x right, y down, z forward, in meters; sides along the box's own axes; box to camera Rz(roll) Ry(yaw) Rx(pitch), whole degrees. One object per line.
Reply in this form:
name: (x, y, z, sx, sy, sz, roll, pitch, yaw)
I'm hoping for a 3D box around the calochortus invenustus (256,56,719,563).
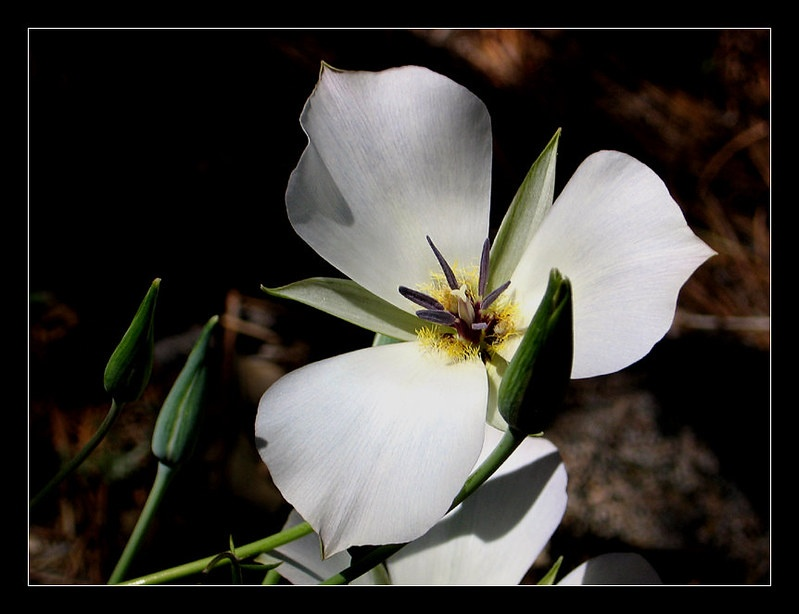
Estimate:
calochortus invenustus: (0.048, -0.032, 0.689, 0.411, 0.338, 0.289, -13, 31, -15)
